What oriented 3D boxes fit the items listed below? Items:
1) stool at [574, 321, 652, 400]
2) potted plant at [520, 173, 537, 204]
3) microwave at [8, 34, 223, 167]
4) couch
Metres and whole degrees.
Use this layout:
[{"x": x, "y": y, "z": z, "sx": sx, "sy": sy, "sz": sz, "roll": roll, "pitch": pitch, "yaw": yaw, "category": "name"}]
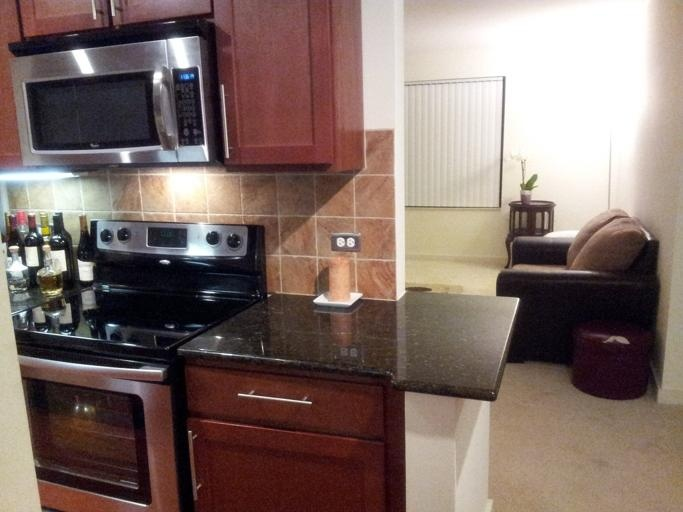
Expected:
[{"x": 1.710, "y": 0.671, "z": 3.574, "sx": 0.451, "sy": 0.382, "sz": 0.437, "roll": 0, "pitch": -12, "yaw": 10, "category": "stool"}, {"x": 2.125, "y": -0.774, "z": 6.463, "sx": 0.183, "sy": 0.308, "sz": 0.450, "roll": 2, "pitch": 13, "yaw": 18, "category": "potted plant"}, {"x": -0.888, "y": -0.599, "z": 2.353, "sx": 0.871, "sy": 0.453, "sz": 0.409, "roll": 0, "pitch": 13, "yaw": 16, "category": "microwave"}, {"x": 1.738, "y": 0.199, "z": 4.337, "sx": 1.026, "sy": 0.844, "sz": 1.361, "roll": 2, "pitch": 14, "yaw": 20, "category": "couch"}]
